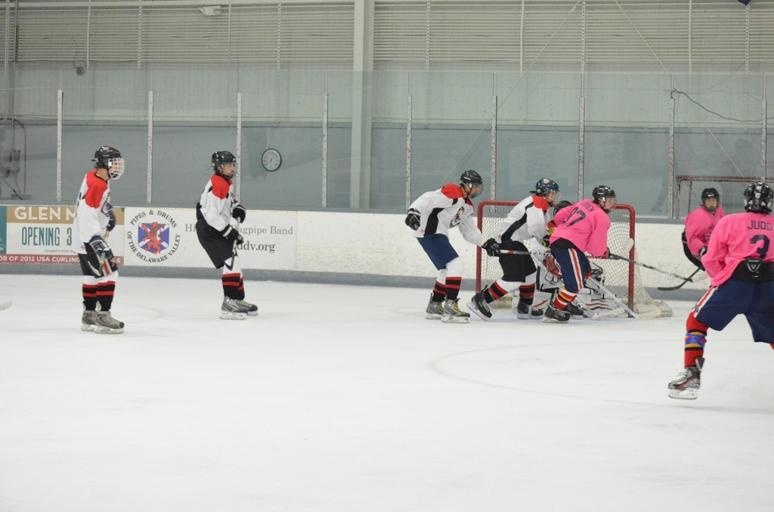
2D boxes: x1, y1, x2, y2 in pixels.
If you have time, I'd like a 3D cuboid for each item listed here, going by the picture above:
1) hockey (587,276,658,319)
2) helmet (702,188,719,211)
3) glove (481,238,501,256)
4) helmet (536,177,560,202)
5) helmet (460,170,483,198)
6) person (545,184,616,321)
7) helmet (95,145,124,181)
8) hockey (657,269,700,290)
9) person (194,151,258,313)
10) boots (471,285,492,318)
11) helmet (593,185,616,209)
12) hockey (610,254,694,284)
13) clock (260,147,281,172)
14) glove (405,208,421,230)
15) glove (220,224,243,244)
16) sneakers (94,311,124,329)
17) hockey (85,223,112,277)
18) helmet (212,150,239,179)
[{"bbox_3d":[2.887,0.519,13.265,0.749,0.330,0.128,32,-35,-32],"label":"hockey"},{"bbox_3d":[4.190,-0.732,13.907,0.237,0.287,0.285,-1,-6,4],"label":"helmet"},{"bbox_3d":[1.233,-0.102,12.541,0.214,0.157,0.097,-26,3,13],"label":"glove"},{"bbox_3d":[1.923,-0.804,12.926,0.310,0.290,0.264,1,7,-11],"label":"helmet"},{"bbox_3d":[1.009,-0.871,12.723,0.319,0.348,0.280,-1,4,3],"label":"helmet"},{"bbox_3d":[2.253,-0.029,12.627,0.729,1.583,0.621,2,4,9],"label":"person"},{"bbox_3d":[-3.008,-1.020,11.602,0.340,0.313,0.242,13,1,-5],"label":"helmet"},{"bbox_3d":[3.851,0.332,14.117,0.447,0.132,0.446,-9,0,33],"label":"hockey"},{"bbox_3d":[-1.843,-0.263,12.470,0.721,1.887,0.481,3,5,30],"label":"person"},{"bbox_3d":[1.107,0.554,12.660,0.258,0.380,0.213,1,4,6],"label":"boots"},{"bbox_3d":[2.564,-0.707,12.728,0.300,0.282,0.243,3,10,1],"label":"helmet"},{"bbox_3d":[3.556,0.153,14.299,0.788,0.106,0.114,21,42,17],"label":"hockey"},{"bbox_3d":[-1.703,-1.424,16.040,0.328,0.325,0.336,-13,-8,35],"label":"clock"},{"bbox_3d":[0.321,-0.427,12.543,0.160,0.261,0.200,1,4,0],"label":"glove"},{"bbox_3d":[-1.738,-0.228,12.368,0.187,0.094,0.250,23,-7,34],"label":"glove"},{"bbox_3d":[-2.936,0.685,11.420,0.301,0.172,0.153,1,1,-10],"label":"sneakers"},{"bbox_3d":[-3.081,0.046,11.489,0.257,0.497,0.356,-5,-20,-27],"label":"hockey"},{"bbox_3d":[-1.899,-1.065,12.516,0.356,0.332,0.287,-2,6,-15],"label":"helmet"}]
